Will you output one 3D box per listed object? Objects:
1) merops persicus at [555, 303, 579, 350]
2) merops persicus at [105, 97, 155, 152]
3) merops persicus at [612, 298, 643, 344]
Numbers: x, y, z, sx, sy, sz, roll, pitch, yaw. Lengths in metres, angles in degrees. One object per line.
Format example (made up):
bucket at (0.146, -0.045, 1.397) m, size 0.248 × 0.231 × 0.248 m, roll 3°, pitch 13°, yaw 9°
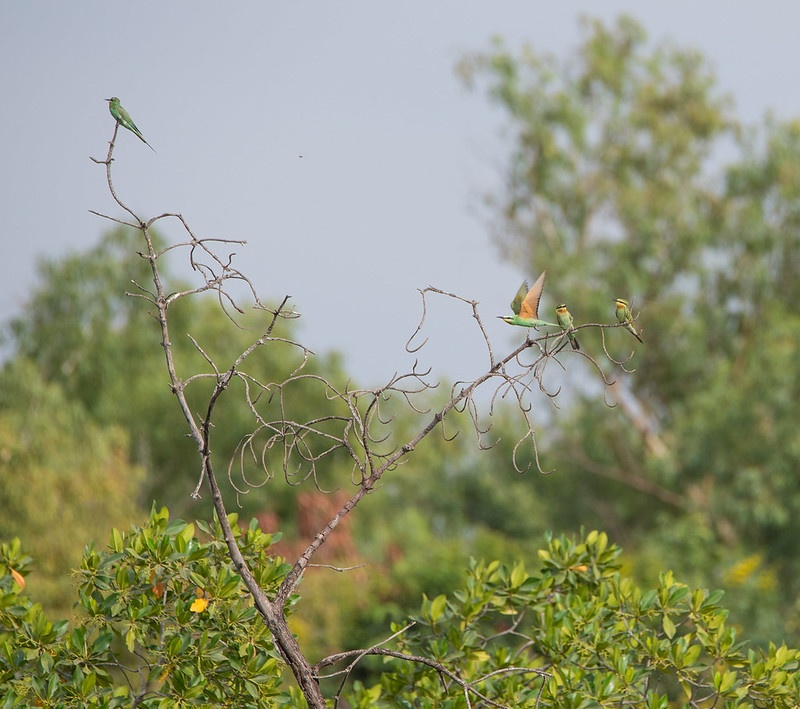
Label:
merops persicus at (1.351, -0.256, 13.342) m, size 0.155 × 0.498 × 0.130 m, roll -6°, pitch -5°, yaw 4°
merops persicus at (-2.203, -1.904, 13.529) m, size 0.496 × 0.270 × 0.153 m, roll 23°, pitch -22°, yaw 6°
merops persicus at (1.893, -0.339, 13.775) m, size 0.107 × 0.217 × 0.392 m, roll 4°, pitch -5°, yaw 38°
